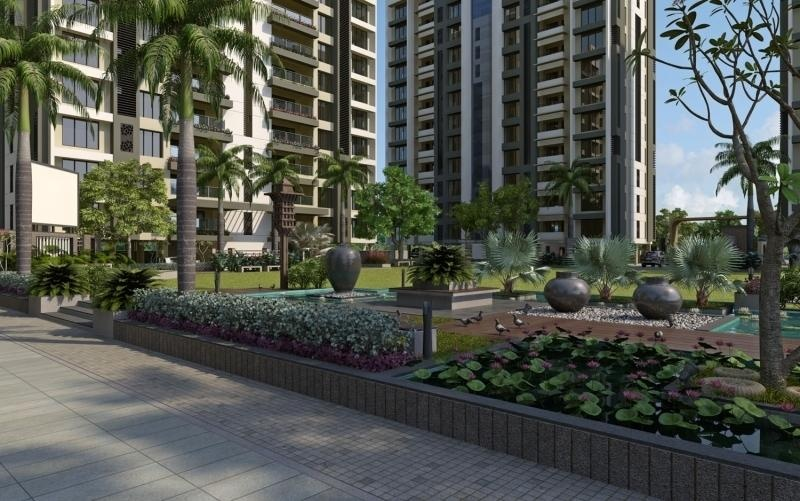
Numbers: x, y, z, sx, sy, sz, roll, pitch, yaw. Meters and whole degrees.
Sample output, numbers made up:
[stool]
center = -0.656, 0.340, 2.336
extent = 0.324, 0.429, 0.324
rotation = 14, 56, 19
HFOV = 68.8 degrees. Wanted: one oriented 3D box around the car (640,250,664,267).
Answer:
[car]
center = 24.161, 0.870, 56.147
extent = 1.685, 1.282, 3.879
rotation = 1, 5, 36
